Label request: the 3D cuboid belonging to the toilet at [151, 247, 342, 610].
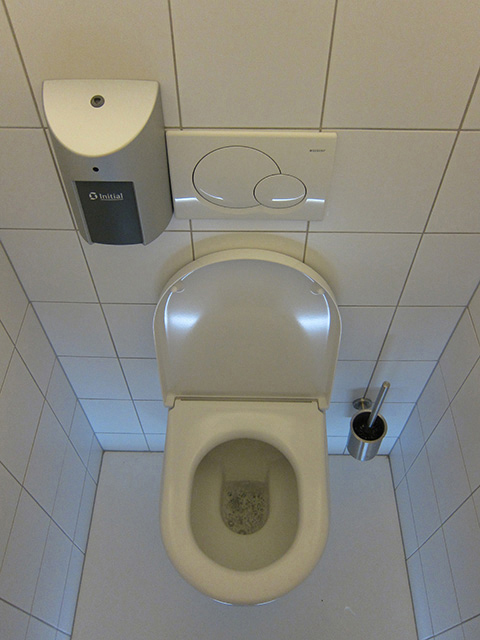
[{"bbox_3d":[0.015,0.357,1.044,0.343,0.909,0.499,1,51,4],"label":"toilet"}]
